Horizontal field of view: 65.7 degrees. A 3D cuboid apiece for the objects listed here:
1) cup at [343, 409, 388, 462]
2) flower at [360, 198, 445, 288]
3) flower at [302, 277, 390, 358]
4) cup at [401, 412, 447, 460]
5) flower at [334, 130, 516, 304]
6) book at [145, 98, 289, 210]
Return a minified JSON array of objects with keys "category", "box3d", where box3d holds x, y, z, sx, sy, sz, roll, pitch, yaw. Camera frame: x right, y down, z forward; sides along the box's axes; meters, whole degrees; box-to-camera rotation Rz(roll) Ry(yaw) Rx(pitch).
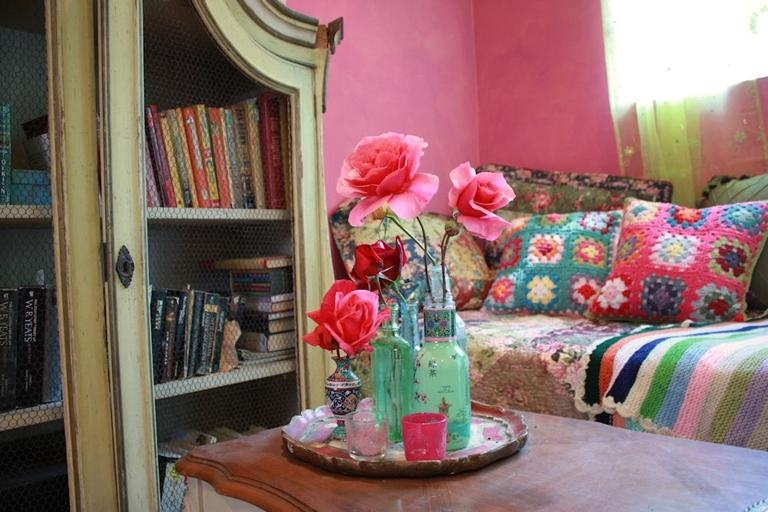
[{"category":"cup","box3d":[-0.032,0.402,1.367,0.113,0.100,0.114,-3,8,0]},{"category":"flower","box3d":[0.047,-0.011,1.386,0.120,0.104,0.095,-22,-36,24]},{"category":"flower","box3d":[-0.114,0.179,1.413,0.120,0.101,0.133,-4,22,27]},{"category":"cup","box3d":[0.091,0.409,1.323,0.104,0.093,0.103,0,-4,0]},{"category":"flower","box3d":[0.111,-0.042,1.379,0.356,0.369,0.232,-2,15,-12]},{"category":"book","box3d":[-0.549,-0.326,1.891,0.394,0.385,0.211,0,-2,-40]}]
